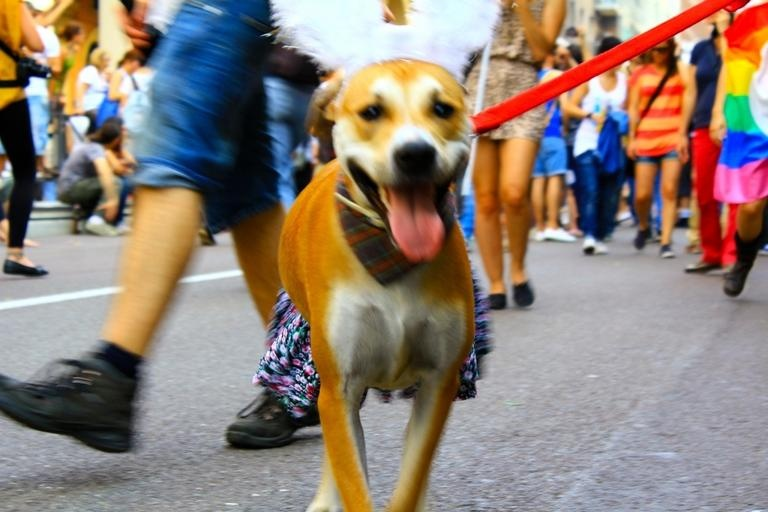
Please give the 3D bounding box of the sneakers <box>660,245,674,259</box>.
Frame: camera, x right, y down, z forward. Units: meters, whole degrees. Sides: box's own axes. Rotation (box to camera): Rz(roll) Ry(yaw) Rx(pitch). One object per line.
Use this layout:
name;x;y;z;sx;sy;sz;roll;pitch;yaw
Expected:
sneakers;3.058;-0.035;8.509;0.107;0.081;0.198;-3;5;3

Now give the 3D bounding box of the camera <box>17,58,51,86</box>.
camera;-2.689;-1.413;6.083;0.295;0.178;0.122;-1;-7;-7

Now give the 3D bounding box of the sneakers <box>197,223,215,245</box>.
sneakers;-0.642;-0.072;2.842;0.049;0.072;0.160;-24;1;-17

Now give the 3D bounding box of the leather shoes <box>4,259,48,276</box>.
leather shoes;-2.905;0.100;6.419;0.365;0.128;0.127;2;3;-28

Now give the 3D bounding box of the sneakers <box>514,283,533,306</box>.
sneakers;0.943;0.281;5.418;0.105;0.175;0.185;-2;-6;-2

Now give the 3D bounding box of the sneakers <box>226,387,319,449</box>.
sneakers;-0.398;0.574;2.791;0.160;0.181;0.435;-7;-6;38

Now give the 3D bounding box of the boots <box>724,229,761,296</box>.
boots;2.756;0.059;6.056;0.180;0.494;0.353;14;-23;32
